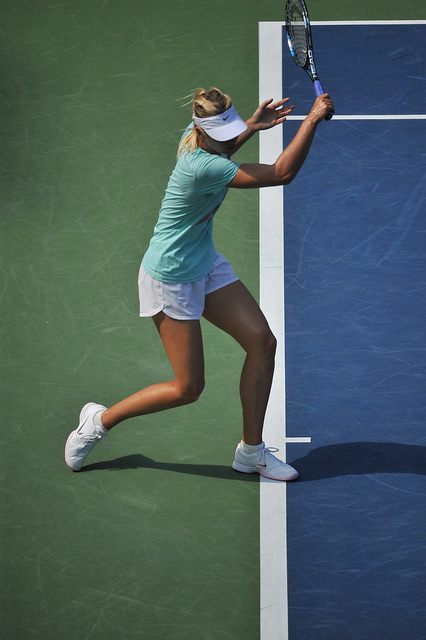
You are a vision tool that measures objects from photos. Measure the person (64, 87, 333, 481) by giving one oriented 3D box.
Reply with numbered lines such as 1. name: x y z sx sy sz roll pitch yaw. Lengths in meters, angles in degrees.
1. person: -0.085 -0.090 3.587 1.201 2.057 0.514 9 21 24

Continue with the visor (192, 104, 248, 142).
1. visor: 0.040 -0.880 3.149 0.153 0.071 0.223 -32 50 -18
